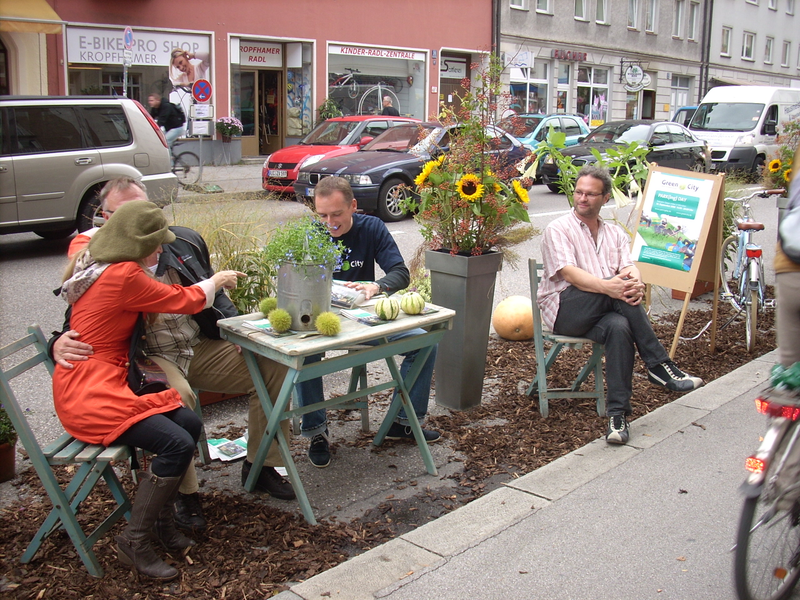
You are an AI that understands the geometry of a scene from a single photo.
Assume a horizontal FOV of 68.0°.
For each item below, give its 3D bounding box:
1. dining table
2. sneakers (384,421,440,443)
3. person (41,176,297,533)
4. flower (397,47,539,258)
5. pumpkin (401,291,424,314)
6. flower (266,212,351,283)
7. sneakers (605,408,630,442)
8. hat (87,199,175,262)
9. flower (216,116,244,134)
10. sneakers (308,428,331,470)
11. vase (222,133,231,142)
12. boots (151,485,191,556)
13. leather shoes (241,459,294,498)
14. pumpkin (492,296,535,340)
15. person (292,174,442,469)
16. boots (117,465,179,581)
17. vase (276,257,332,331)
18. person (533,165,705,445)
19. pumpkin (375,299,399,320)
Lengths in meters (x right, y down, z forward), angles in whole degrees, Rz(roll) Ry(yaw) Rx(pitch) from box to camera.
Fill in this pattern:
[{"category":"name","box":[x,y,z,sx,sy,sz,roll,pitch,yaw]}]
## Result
[{"category":"dining table","box":[-0.356,0.616,3.634,0.783,0.961,1.284,7,11,42]},{"category":"sneakers","box":[0.087,0.905,4.164,0.377,0.148,0.150,1,28,1]},{"category":"person","box":[-1.265,0.249,3.343,1.116,1.649,1.009,1,7,24]},{"category":"flower","box":[0.563,-1.082,4.592,0.902,1.516,0.677,-7,16,-29]},{"category":"pumpkin","box":[0.078,0.015,3.675,0.132,0.124,0.131,7,11,35]},{"category":"flower","box":[-0.527,-0.291,3.277,0.358,0.242,0.353,-1,6,-5]},{"category":"sneakers","box":[1.495,0.891,4.089,0.109,0.114,0.280,-1,5,14]},{"category":"hat","box":[-1.257,-0.322,2.861,0.249,0.199,0.374,34,47,24]},{"category":"flower","box":[-5.782,-5.886,20.276,0.740,0.434,0.711,20,38,5]},{"category":"sneakers","box":[-0.519,0.986,3.844,0.096,0.104,0.273,-6,6,-9]},{"category":"vase","box":[-5.890,-5.556,20.115,0.277,0.322,0.306,-2,39,-7]},{"category":"boots","box":[-1.115,1.067,2.898,0.136,0.328,0.355,1,-7,-43]},{"category":"leather shoes","box":[-0.716,1.079,3.482,0.383,0.147,0.167,-2,-4,45]},{"category":"pumpkin","box":[1.218,0.224,6.484,0.435,0.476,0.426,-14,21,-12]},{"category":"person","box":[-0.270,0.072,4.300,1.106,1.834,0.982,-5,7,3]},{"category":"boots","box":[-1.113,1.013,2.732,0.313,0.451,0.266,10,17,32]},{"category":"vase","box":[-0.533,-0.037,3.326,0.368,0.356,0.350,8,11,37]},{"category":"person","box":[1.567,0.063,4.492,0.844,1.653,1.110,-6,16,-27]},{"category":"pumpkin","box":[-0.076,0.057,3.456,0.129,0.141,0.121,1,9,3]}]
